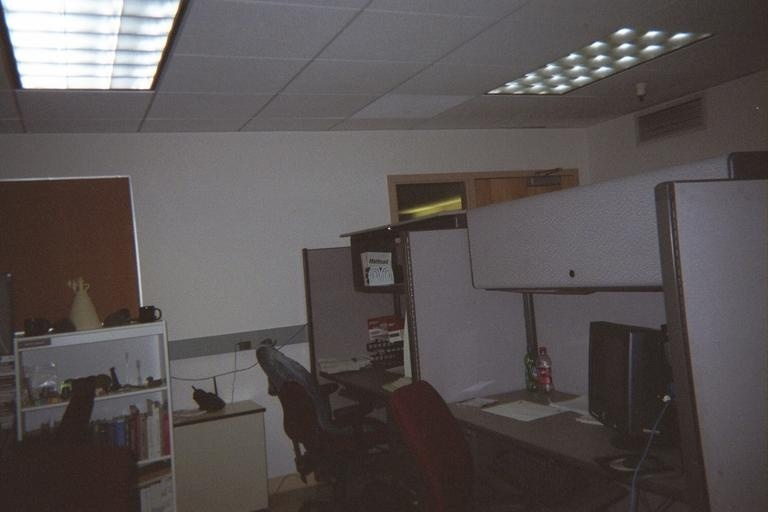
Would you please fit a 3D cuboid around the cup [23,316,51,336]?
[{"bbox_3d":[-2.583,0.517,4.108,0.144,0.112,0.146,-2,-8,0],"label":"cup"}]

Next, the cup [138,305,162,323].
[{"bbox_3d":[-1.865,0.463,4.452,0.213,0.153,0.131,3,-6,-37],"label":"cup"}]

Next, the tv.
[{"bbox_3d":[1.280,0.690,2.876,0.301,0.558,0.568,2,-13,-4],"label":"tv"}]

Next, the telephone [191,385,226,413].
[{"bbox_3d":[-1.473,1.192,4.614,0.239,0.171,0.173,-2,-16,-12],"label":"telephone"}]
